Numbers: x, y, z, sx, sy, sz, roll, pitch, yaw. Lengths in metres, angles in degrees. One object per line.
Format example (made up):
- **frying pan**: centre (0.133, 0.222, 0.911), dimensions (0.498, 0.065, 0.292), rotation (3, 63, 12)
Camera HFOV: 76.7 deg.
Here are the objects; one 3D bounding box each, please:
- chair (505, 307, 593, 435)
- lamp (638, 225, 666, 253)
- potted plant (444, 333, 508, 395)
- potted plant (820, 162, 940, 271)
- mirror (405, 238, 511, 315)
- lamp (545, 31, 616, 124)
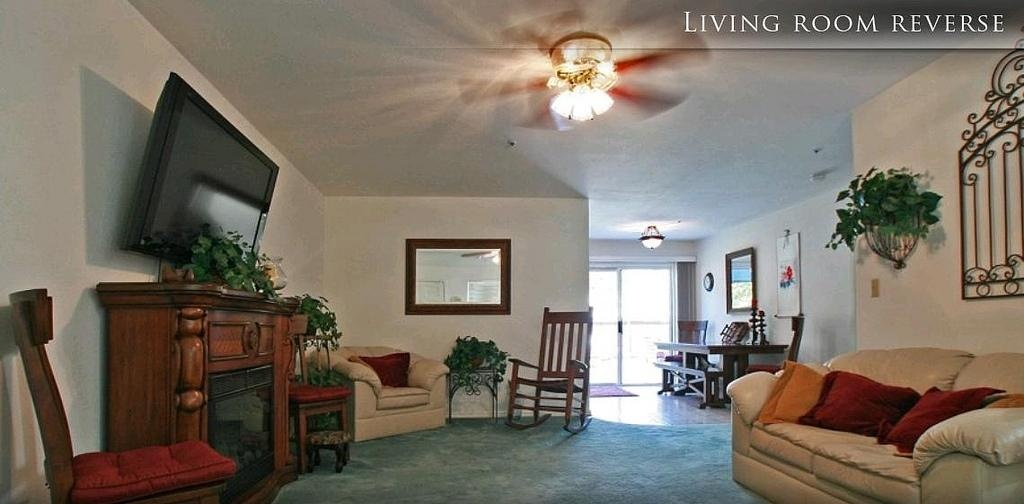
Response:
- **chair**: centre (0.555, 1.594, 9.069), dimensions (1.086, 1.566, 1.495), rotation (1, 6, 6)
- **lamp**: centre (2.458, -0.238, 11.539), dimensions (0.491, 0.300, 0.473), rotation (7, -10, -42)
- **potted plant**: centre (-0.525, 1.596, 9.445), dimensions (1.384, 0.993, 0.796), rotation (3, -16, -9)
- **potted plant**: centre (3.804, -0.370, 6.722), dimensions (1.221, 0.881, 1.073), rotation (-5, 3, 22)
- **mirror**: centre (-0.852, 0.386, 9.484), dimensions (1.438, 0.805, 0.093), rotation (0, -6, -3)
- **lamp**: centre (0.656, -1.669, 6.234), dimensions (0.708, 0.574, 0.678), rotation (-9, -14, 36)
